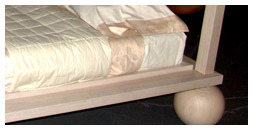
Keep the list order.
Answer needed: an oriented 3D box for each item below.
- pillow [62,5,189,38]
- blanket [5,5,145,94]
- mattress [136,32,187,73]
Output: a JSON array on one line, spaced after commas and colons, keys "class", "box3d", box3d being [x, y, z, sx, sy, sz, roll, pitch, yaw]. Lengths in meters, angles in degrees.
[{"class": "pillow", "box3d": [0.073, -0.514, 1.930, 0.794, 0.098, 0.620, -8, 40, -11]}, {"class": "blanket", "box3d": [-0.500, -0.142, 1.652, 1.096, 0.240, 1.090, -6, 33, -22]}, {"class": "mattress", "box3d": [0.335, -0.227, 2.078, 0.678, 0.420, 0.303, -4, 26, -22]}]
